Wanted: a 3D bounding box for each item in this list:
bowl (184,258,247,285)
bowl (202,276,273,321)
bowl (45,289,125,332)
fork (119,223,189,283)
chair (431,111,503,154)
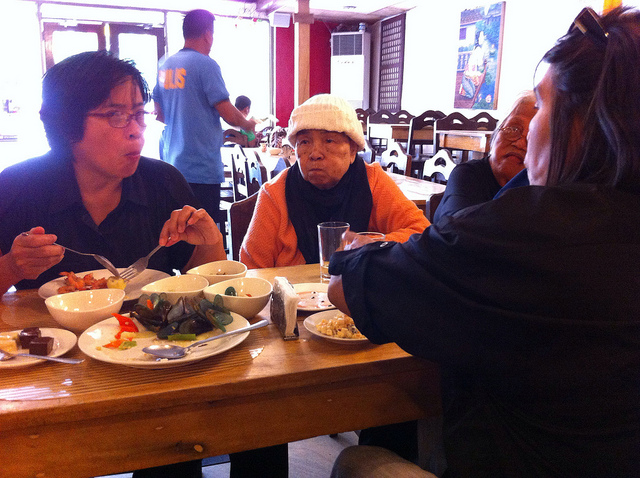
[{"bbox_3d":[-0.309,0.104,1.442,0.109,0.040,0.096,1,16,2],"label":"bowl"},{"bbox_3d":[-0.196,0.178,1.286,0.133,0.063,0.135,1,1,0],"label":"bowl"},{"bbox_3d":[-0.603,0.186,1.208,0.146,0.064,0.148,8,11,-1],"label":"bowl"},{"bbox_3d":[-0.562,0.038,1.592,0.028,0.027,0.240,37,64,8],"label":"fork"},{"bbox_3d":[1.636,-1.222,5.531,0.732,0.502,0.232,-3,33,-13],"label":"chair"}]
